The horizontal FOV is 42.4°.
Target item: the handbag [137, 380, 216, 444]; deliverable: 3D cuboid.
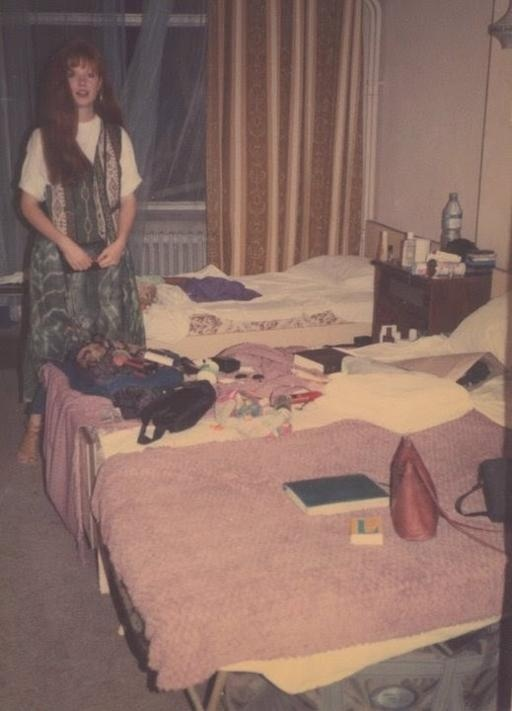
[{"bbox_3d":[-0.214,0.138,1.849,0.108,0.050,0.197,12,32,29],"label":"handbag"}]
